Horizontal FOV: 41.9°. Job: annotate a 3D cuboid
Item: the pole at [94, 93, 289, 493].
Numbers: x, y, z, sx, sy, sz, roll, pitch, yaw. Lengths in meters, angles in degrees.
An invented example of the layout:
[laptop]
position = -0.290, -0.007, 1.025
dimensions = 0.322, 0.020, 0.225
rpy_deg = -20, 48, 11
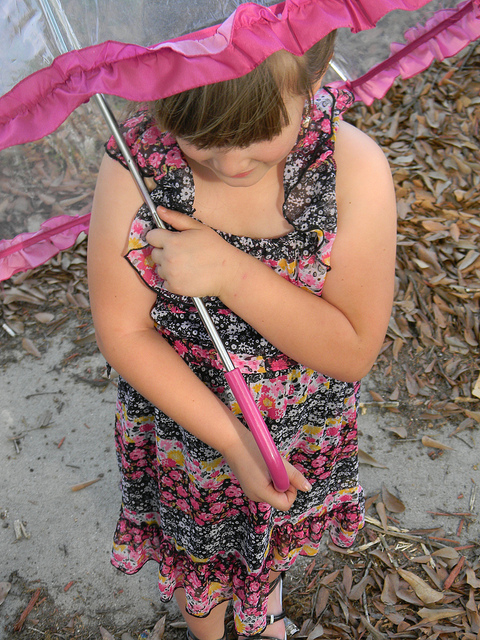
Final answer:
[pole]
position = -0.073, -0.057, 1.132
dimensions = 0.108, 0.038, 0.978
rpy_deg = -40, 108, -47
